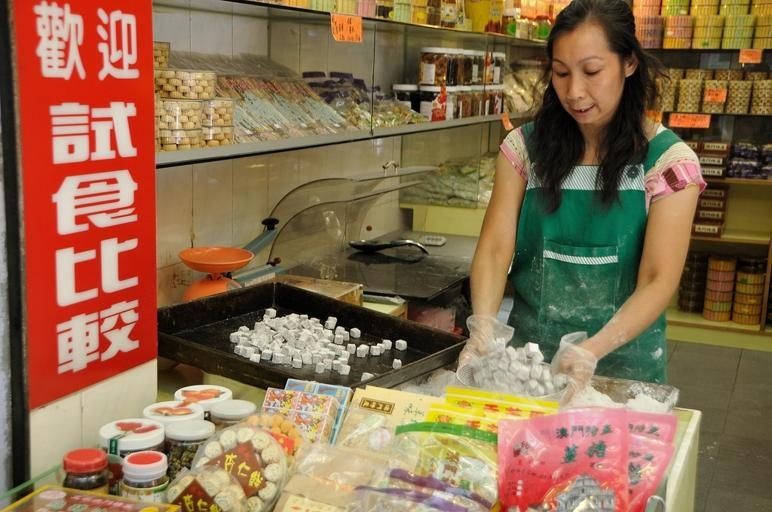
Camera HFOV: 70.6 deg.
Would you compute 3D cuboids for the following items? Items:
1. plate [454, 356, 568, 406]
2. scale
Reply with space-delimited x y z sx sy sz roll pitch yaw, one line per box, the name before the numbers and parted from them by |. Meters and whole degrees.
plate | 0.317 0.294 1.334 0.139 0.041 0.132 6 8 -7
scale | -0.716 0.051 2.293 0.243 0.167 0.246 7 10 37
